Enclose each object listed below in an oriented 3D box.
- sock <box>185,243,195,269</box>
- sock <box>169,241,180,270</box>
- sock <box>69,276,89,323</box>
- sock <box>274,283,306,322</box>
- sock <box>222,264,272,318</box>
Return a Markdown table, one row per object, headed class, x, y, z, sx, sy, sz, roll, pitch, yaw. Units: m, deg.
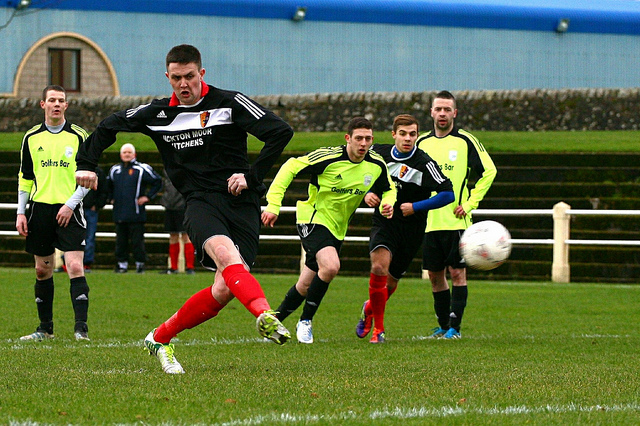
| class | x | y | z | sx | sy | sz | roll | pitch | yaw |
| --- | --- | --- | --- | --- | --- | --- | --- | --- | --- |
| sock | -3.152 | 1.011 | 30.892 | 0.197 | 0.663 | 0.304 | -2 | 13 | -10 |
| sock | -3.504 | 1.017 | 30.807 | 0.202 | 0.703 | 0.164 | -3 | 13 | -17 |
| sock | -4.602 | 1.666 | 24.508 | 0.314 | 0.880 | 0.390 | -2 | 13 | -11 |
| sock | -0.577 | 1.811 | 24.758 | 0.346 | 1.225 | 0.283 | 34 | 43 | 11 |
| sock | -1.230 | 1.280 | 22.222 | 1.410 | 0.395 | 0.463 | 49 | -7 | 26 |
